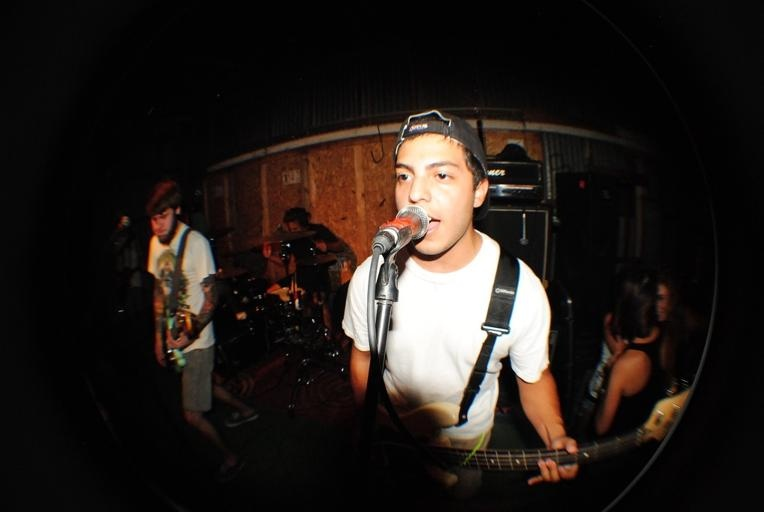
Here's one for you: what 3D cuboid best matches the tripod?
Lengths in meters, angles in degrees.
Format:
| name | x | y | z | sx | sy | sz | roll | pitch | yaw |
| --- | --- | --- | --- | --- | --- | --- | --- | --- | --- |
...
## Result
| name | x | y | z | sx | sy | sz | roll | pitch | yaw |
| --- | --- | --- | --- | --- | --- | --- | --- | --- | --- |
| tripod | -0.841 | 0.808 | 5.896 | 1.300 | 1.800 | 1.197 | 1 | 0 | -10 |

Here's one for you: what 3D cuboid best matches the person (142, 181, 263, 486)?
| name | x | y | z | sx | sy | sz | roll | pitch | yaw |
| --- | --- | --- | --- | --- | --- | --- | --- | --- | --- |
| person | -1.608 | 0.525 | 4.183 | 0.750 | 2.346 | 0.390 | 1 | -1 | 6 |

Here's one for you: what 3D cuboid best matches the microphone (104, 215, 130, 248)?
| name | x | y | z | sx | sy | sz | roll | pitch | yaw |
| --- | --- | --- | --- | --- | --- | --- | --- | --- | --- |
| microphone | -2.125 | -0.200 | 3.944 | 0.153 | 0.235 | 0.054 | 11 | 9 | -33 |
